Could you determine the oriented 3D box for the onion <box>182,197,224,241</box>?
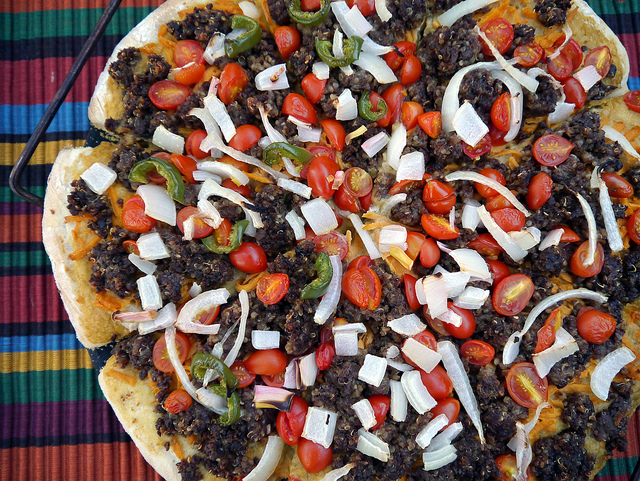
[{"bbox_3d":[-0.935,-0.183,6.318,0.324,0.324,0.098,16,76,0],"label":"onion"}]

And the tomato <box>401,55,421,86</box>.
[{"bbox_3d":[0.709,-1.341,6.440,0.158,0.290,0.235,17,116,-2],"label":"tomato"}]

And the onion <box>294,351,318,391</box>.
[{"bbox_3d":[-0.110,1.003,6.273,0.177,0.134,0.294,-5,84,-1],"label":"onion"}]

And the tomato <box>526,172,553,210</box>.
[{"bbox_3d":[1.692,-0.390,6.307,0.163,0.161,0.283,23,90,1],"label":"tomato"}]

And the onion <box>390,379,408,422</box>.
[{"bbox_3d":[0.593,1.226,6.197,0.140,0.077,0.276,-3,83,0],"label":"onion"}]

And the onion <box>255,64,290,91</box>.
[{"bbox_3d":[-0.391,-1.276,6.300,0.254,0.107,0.177,-11,84,-2],"label":"onion"}]

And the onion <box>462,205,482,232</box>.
[{"bbox_3d":[1.170,-0.182,6.279,0.124,0.066,0.192,8,87,4],"label":"onion"}]

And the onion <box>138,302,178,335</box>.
[{"bbox_3d":[-1.326,0.587,6.352,0.282,0.335,0.077,35,86,40],"label":"onion"}]

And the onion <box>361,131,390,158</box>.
[{"bbox_3d":[0.430,-0.762,6.298,0.234,0.093,0.144,-45,91,3],"label":"onion"}]

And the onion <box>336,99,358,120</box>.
[{"bbox_3d":[0.214,-0.998,6.255,0.185,0.104,0.113,-32,85,-4],"label":"onion"}]

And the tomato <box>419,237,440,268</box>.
[{"bbox_3d":[0.849,0.087,6.245,0.151,0.114,0.211,6,87,-12],"label":"tomato"}]

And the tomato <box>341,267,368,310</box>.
[{"bbox_3d":[0.269,0.354,6.221,0.223,0.120,0.390,-4,44,-13],"label":"tomato"}]

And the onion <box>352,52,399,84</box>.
[{"bbox_3d":[0.437,-1.359,6.297,0.305,0.067,0.224,25,72,-4],"label":"onion"}]

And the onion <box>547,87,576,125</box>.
[{"bbox_3d":[1.935,-1.043,6.481,0.187,0.221,0.270,28,69,-25],"label":"onion"}]

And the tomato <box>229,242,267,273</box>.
[{"bbox_3d":[-0.555,0.119,6.268,0.259,0.201,0.214,11,111,0],"label":"tomato"}]

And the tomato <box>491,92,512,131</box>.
[{"bbox_3d":[1.429,-1.003,6.310,0.093,0.242,0.243,3,62,38],"label":"tomato"}]

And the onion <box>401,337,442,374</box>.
[{"bbox_3d":[0.771,0.858,6.140,0.334,0.092,0.195,42,100,2],"label":"onion"}]

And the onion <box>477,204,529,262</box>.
[{"bbox_3d":[1.394,-0.056,6.251,0.150,0.354,0.394,-33,114,2],"label":"onion"}]

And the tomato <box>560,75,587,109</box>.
[{"bbox_3d":[2.049,-1.240,6.590,0.221,0.301,0.173,38,116,8],"label":"tomato"}]

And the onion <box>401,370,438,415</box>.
[{"bbox_3d":[0.749,1.153,6.142,0.209,0.112,0.346,-26,89,-8],"label":"onion"}]

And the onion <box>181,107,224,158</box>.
[{"bbox_3d":[-0.889,-0.859,6.272,0.269,0.097,0.375,-33,101,26],"label":"onion"}]

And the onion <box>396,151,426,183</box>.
[{"bbox_3d":[0.699,-0.583,6.256,0.217,0.080,0.219,-2,84,-1],"label":"onion"}]

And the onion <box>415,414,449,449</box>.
[{"bbox_3d":[0.858,1.431,6.166,0.307,0.053,0.111,-44,86,-5],"label":"onion"}]

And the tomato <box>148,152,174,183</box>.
[{"bbox_3d":[-1.272,-0.572,6.357,0.206,0.075,0.218,-23,106,2],"label":"tomato"}]

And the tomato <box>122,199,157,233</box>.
[{"bbox_3d":[-1.430,-0.184,6.261,0.222,0.096,0.272,-36,85,-4],"label":"tomato"}]

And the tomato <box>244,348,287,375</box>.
[{"bbox_3d":[-0.436,0.925,6.160,0.270,0.175,0.173,-6,51,5],"label":"tomato"}]

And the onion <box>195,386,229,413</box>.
[{"bbox_3d":[-0.835,1.210,6.183,0.205,0.058,0.223,18,117,6],"label":"onion"}]

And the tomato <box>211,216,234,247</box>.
[{"bbox_3d":[-0.762,-0.065,6.299,0.169,0.118,0.202,18,116,22],"label":"tomato"}]

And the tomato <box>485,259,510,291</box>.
[{"bbox_3d":[1.401,0.247,6.319,0.196,0.191,0.239,-9,98,21],"label":"tomato"}]

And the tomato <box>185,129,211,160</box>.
[{"bbox_3d":[-0.987,-0.767,6.396,0.187,0.127,0.238,-4,78,-3],"label":"tomato"}]

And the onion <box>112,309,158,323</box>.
[{"bbox_3d":[-1.450,0.578,6.332,0.400,0.123,0.136,0,89,2],"label":"onion"}]

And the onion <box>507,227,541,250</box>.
[{"bbox_3d":[1.588,-0.034,6.223,0.174,0.182,0.067,29,53,11],"label":"onion"}]

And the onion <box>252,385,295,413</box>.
[{"bbox_3d":[-0.362,1.181,6.098,0.245,0.103,0.188,6,82,-3],"label":"onion"}]

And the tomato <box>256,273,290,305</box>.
[{"bbox_3d":[-0.364,0.354,6.176,0.264,0.138,0.219,-18,84,-3],"label":"tomato"}]

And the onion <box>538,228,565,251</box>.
[{"bbox_3d":[1.812,-0.022,6.290,0.062,0.173,0.176,33,67,-15],"label":"onion"}]

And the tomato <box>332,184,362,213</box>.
[{"bbox_3d":[0.176,-0.283,6.334,0.225,0.140,0.176,-33,88,-18],"label":"tomato"}]

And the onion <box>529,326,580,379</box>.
[{"bbox_3d":[1.814,0.848,6.205,0.270,0.113,0.382,19,86,5],"label":"onion"}]
